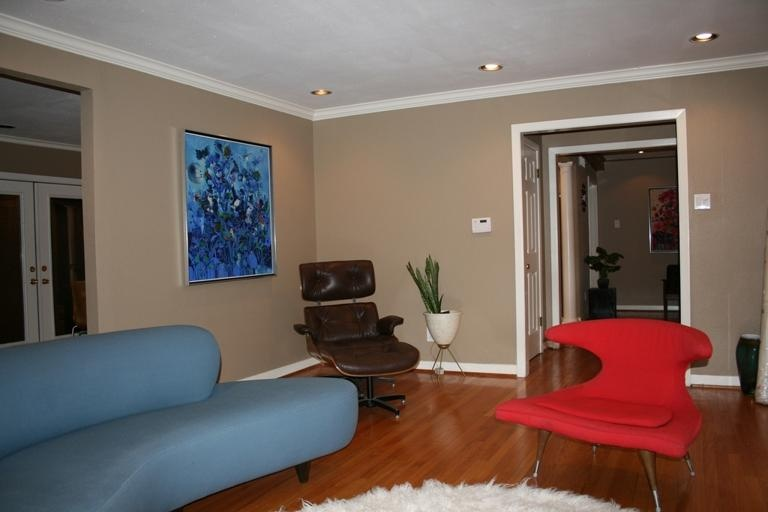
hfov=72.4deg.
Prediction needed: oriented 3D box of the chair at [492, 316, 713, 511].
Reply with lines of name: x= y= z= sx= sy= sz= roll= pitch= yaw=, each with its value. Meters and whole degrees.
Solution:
chair: x=1.547 y=0.916 z=3.748 sx=1.380 sy=1.219 sz=1.203 roll=-3 pitch=-2 yaw=38

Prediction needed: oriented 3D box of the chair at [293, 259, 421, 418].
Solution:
chair: x=-0.255 y=0.772 z=4.967 sx=1.064 sy=1.286 sz=1.260 roll=-3 pitch=4 yaw=-21

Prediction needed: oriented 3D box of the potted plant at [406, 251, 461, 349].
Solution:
potted plant: x=0.539 y=0.502 z=5.739 sx=0.484 sy=1.003 sz=0.379 roll=-5 pitch=-6 yaw=0

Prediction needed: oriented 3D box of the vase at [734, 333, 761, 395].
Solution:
vase: x=3.397 y=1.023 z=4.937 sx=0.171 sy=0.526 sz=0.273 roll=3 pitch=9 yaw=34
